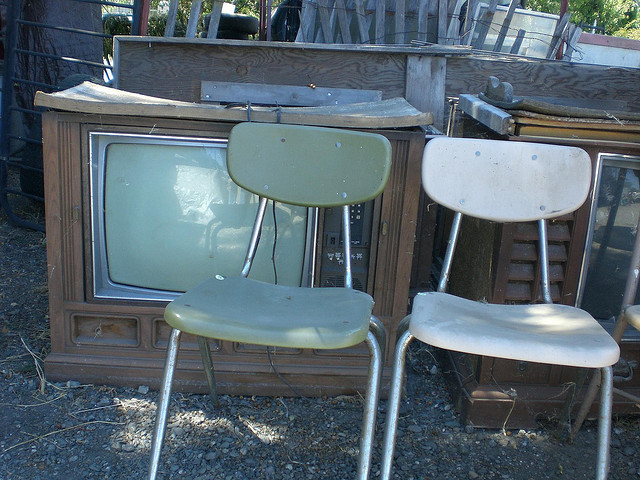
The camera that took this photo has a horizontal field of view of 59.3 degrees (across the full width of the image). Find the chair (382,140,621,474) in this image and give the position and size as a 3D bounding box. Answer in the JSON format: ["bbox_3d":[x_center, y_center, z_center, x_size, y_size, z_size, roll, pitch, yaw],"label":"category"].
[{"bbox_3d":[0.678,0.216,2.174,0.704,1.147,1.243,7,19,9],"label":"chair"}]

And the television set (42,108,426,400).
[{"bbox_3d":[-0.390,0.012,2.290,1.260,1.003,0.485,2,13,1],"label":"television set"}]

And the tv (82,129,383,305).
[{"bbox_3d":[-0.321,-0.048,2.602,1.607,0.947,0.536,10,17,18],"label":"tv"}]
